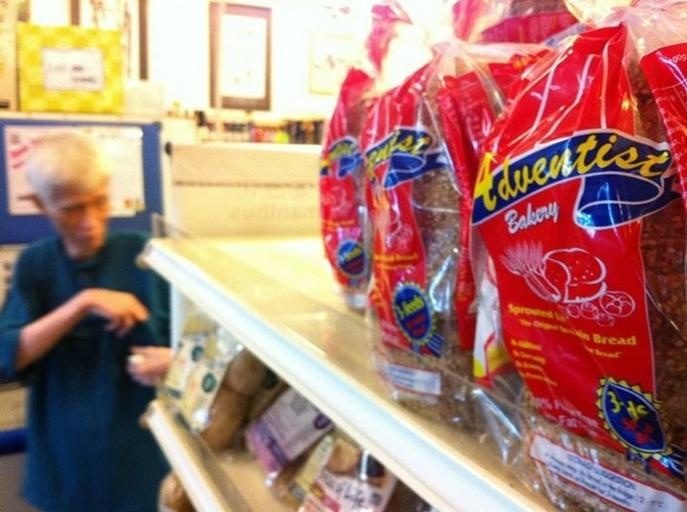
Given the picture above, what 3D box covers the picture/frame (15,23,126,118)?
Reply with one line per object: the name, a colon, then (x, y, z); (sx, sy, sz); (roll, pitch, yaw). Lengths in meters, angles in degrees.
picture/frame: (-1.235, -0.818, 2.302); (0.474, 0.409, 0.049); (-2, 8, -9)
